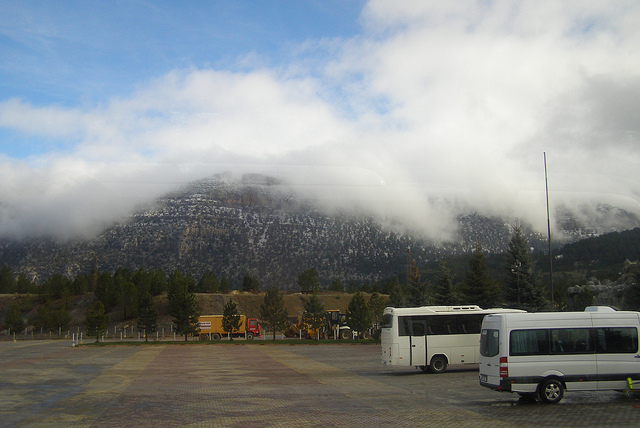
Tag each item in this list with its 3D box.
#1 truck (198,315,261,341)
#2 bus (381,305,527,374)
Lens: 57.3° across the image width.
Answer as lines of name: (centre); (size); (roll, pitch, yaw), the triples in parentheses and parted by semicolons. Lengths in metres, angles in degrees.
truck: (-14.268, 17.234, 91.041); (10.157, 4.418, 2.990); (1, 12, -7)
bus: (10.759, 9.444, 45.087); (11.404, 4.902, 3.760); (2, -10, -16)
